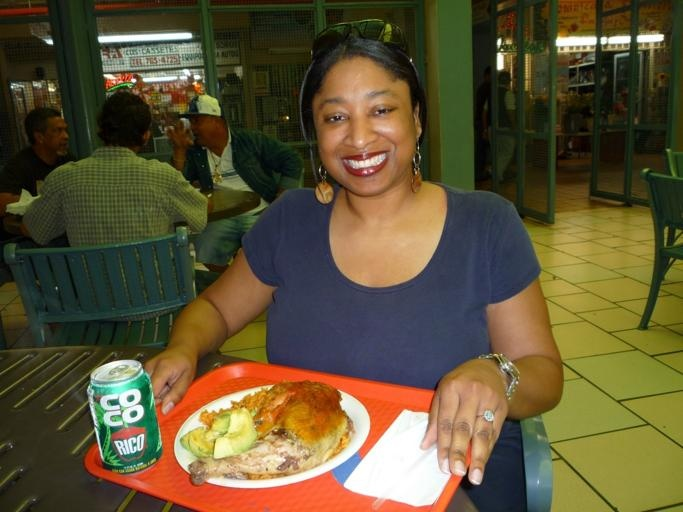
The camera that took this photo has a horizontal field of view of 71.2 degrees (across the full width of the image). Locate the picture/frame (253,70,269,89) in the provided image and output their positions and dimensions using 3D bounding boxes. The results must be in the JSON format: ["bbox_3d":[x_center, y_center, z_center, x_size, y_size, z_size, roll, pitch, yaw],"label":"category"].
[{"bbox_3d":[-1.015,-2.416,6.561,0.262,0.286,0.203,2,22,-2],"label":"picture/frame"}]

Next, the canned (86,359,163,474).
[{"bbox_3d":[-0.418,0.300,0.933,0.108,0.194,0.153,-15,23,-31],"label":"canned"}]

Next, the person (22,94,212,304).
[{"bbox_3d":[-1.227,-0.394,2.763,1.009,0.998,0.582,-3,10,-28],"label":"person"}]

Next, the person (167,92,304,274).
[{"bbox_3d":[-0.982,-0.842,4.424,0.985,1.925,0.901,-5,17,-23],"label":"person"}]

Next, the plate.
[{"bbox_3d":[-0.132,0.336,0.975,0.390,0.068,0.289,-2,21,0],"label":"plate"}]

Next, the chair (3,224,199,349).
[{"bbox_3d":[-1.049,0.123,2.468,0.631,0.939,0.668,-2,61,-9],"label":"chair"}]

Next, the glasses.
[{"bbox_3d":[0.060,-0.646,1.428,0.520,0.114,0.076,3,14,5],"label":"glasses"}]

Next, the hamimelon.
[{"bbox_3d":[-0.230,0.354,0.981,0.145,0.055,0.153,-16,1,17],"label":"hamimelon"}]

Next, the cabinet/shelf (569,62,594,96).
[{"bbox_3d":[7.160,-5.318,14.286,0.421,0.829,1.322,-5,21,-9],"label":"cabinet/shelf"}]
